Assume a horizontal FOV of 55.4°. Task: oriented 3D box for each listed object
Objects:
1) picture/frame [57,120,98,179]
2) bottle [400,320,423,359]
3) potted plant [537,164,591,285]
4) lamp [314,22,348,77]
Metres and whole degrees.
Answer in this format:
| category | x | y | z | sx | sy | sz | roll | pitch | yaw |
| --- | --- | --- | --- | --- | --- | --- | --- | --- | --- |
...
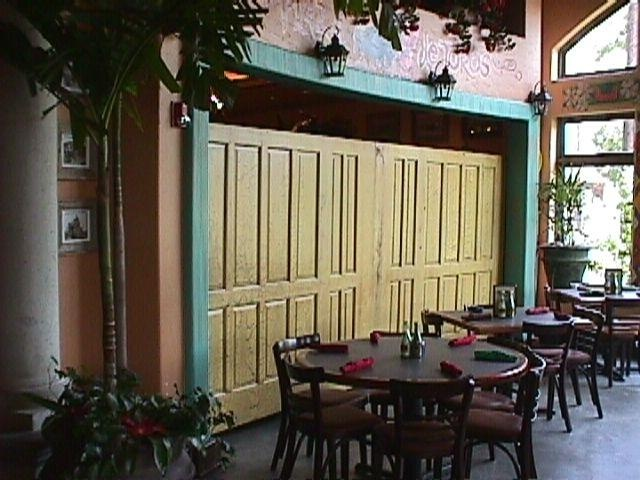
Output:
| category | x | y | z | sx | sy | sz | roll | pitch | yaw |
| --- | --- | --- | --- | --- | --- | --- | --- | --- | --- |
| picture/frame | -1.925 | -0.704 | 4.797 | 0.236 | 0.385 | 0.028 | -2 | -26 | -21 |
| bottle | 0.682 | 0.736 | 4.522 | 0.177 | 0.238 | 0.292 | -1 | 0 | 9 |
| potted plant | 3.362 | -0.174 | 8.402 | 0.656 | 1.318 | 0.715 | -1 | 0 | 26 |
| lamp | 0.145 | -1.874 | 5.946 | 0.349 | 0.486 | 0.239 | -1 | 0 | -42 |
